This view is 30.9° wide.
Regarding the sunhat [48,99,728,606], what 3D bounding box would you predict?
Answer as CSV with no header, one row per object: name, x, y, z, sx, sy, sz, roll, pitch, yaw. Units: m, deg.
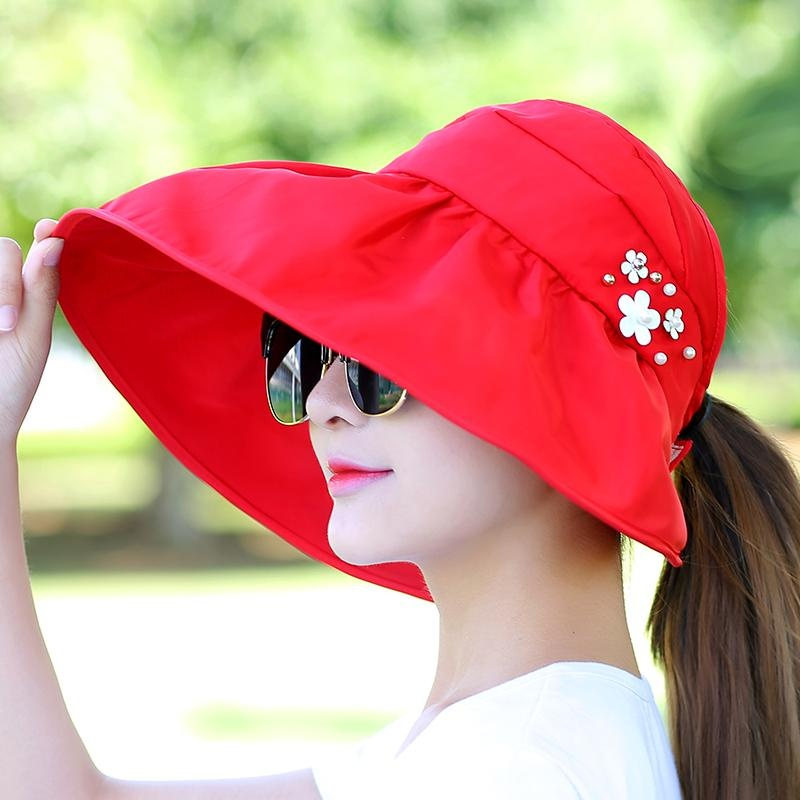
sunhat,0.015,-0.185,2.705,1.214,1.035,0.611,32,74,-12
